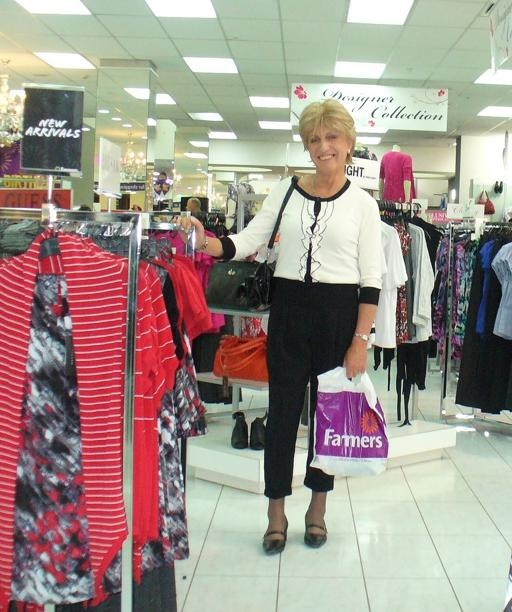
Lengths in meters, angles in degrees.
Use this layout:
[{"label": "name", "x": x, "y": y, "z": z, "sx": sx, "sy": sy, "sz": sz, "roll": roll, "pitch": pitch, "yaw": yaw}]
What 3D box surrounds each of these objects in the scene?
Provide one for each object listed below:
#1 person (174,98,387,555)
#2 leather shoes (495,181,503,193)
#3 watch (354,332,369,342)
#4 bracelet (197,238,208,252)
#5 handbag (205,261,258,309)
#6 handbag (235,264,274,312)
[{"label": "person", "x": 0.198, "y": 0.017, "z": 1.953, "sx": 0.586, "sy": 1.431, "sz": 0.381, "roll": 1, "pitch": 0, "yaw": 12}, {"label": "leather shoes", "x": 5.490, "y": -2.688, "z": 11.004, "sx": 0.165, "sy": 0.261, "sz": 0.090, "roll": 2, "pitch": 9, "yaw": 13}, {"label": "watch", "x": 0.413, "y": 0.129, "z": 1.911, "sx": 0.058, "sy": 0.035, "sz": 0.037, "roll": 1, "pitch": 0, "yaw": 1}, {"label": "bracelet", "x": -0.172, "y": -0.211, "z": 1.618, "sx": 0.018, "sy": 0.049, "sz": 0.038, "roll": 13, "pitch": -16, "yaw": -33}, {"label": "handbag", "x": -0.126, "y": -0.106, "z": 2.702, "sx": 0.230, "sy": 0.220, "sz": 0.084, "roll": 7, "pitch": -1, "yaw": 42}, {"label": "handbag", "x": -0.002, "y": -0.081, "z": 2.514, "sx": 0.086, "sy": 0.208, "sz": 0.205, "roll": 9, "pitch": 7, "yaw": -26}]
